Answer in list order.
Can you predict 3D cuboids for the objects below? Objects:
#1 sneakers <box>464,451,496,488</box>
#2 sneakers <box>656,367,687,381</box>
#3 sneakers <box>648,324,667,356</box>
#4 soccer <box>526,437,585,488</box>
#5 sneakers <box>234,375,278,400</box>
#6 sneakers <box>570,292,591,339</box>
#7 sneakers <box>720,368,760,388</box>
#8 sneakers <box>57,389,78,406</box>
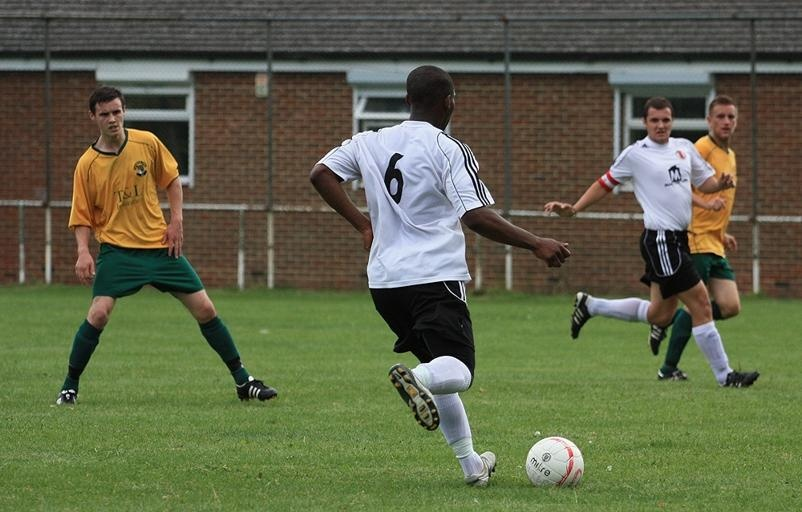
[{"bbox_3d":[0.963,2.447,17.509,0.182,0.240,0.556,12,39,26],"label":"sneakers"},{"bbox_3d":[3.560,1.566,20.175,0.424,0.179,0.154,0,3,5],"label":"sneakers"},{"bbox_3d":[3.486,1.150,20.816,0.243,0.530,0.184,6,23,12],"label":"sneakers"},{"bbox_3d":[1.719,2.366,17.466,0.585,0.552,0.581,20,8,26],"label":"soccer"},{"bbox_3d":[-1.831,1.691,19.463,0.519,0.271,0.264,-1,13,-4],"label":"sneakers"},{"bbox_3d":[2.455,0.855,20.991,0.301,0.669,0.231,2,18,9],"label":"sneakers"},{"bbox_3d":[4.371,1.578,19.755,0.462,0.215,0.298,3,13,13],"label":"sneakers"},{"bbox_3d":[-4.200,1.782,19.265,0.252,0.154,0.214,-3,13,-13],"label":"sneakers"}]
